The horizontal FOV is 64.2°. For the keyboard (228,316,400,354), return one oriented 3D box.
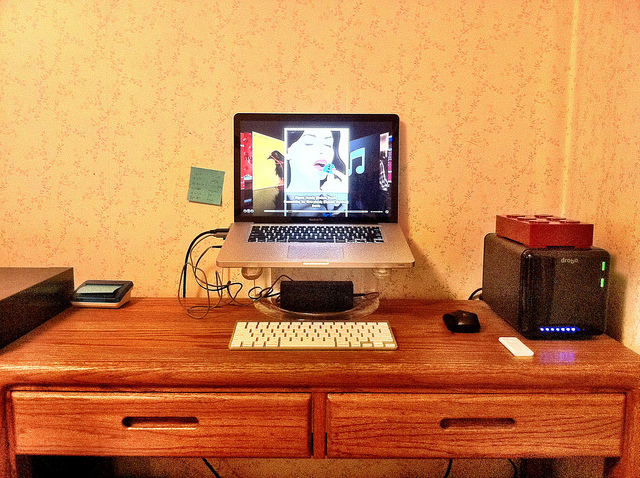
[{"bbox_3d":[-0.006,0.268,1.428,0.443,0.059,0.166,2,5,-3],"label":"keyboard"}]

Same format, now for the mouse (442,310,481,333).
[{"bbox_3d":[0.397,0.241,1.484,0.103,0.056,0.053,4,6,24],"label":"mouse"}]

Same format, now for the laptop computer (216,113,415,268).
[{"bbox_3d":[0.000,-0.161,1.579,0.582,0.380,0.359,2,28,1],"label":"laptop computer"}]

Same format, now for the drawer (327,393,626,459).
[{"bbox_3d":[0.387,0.477,1.311,0.728,0.191,0.038,2,6,0],"label":"drawer"}]
